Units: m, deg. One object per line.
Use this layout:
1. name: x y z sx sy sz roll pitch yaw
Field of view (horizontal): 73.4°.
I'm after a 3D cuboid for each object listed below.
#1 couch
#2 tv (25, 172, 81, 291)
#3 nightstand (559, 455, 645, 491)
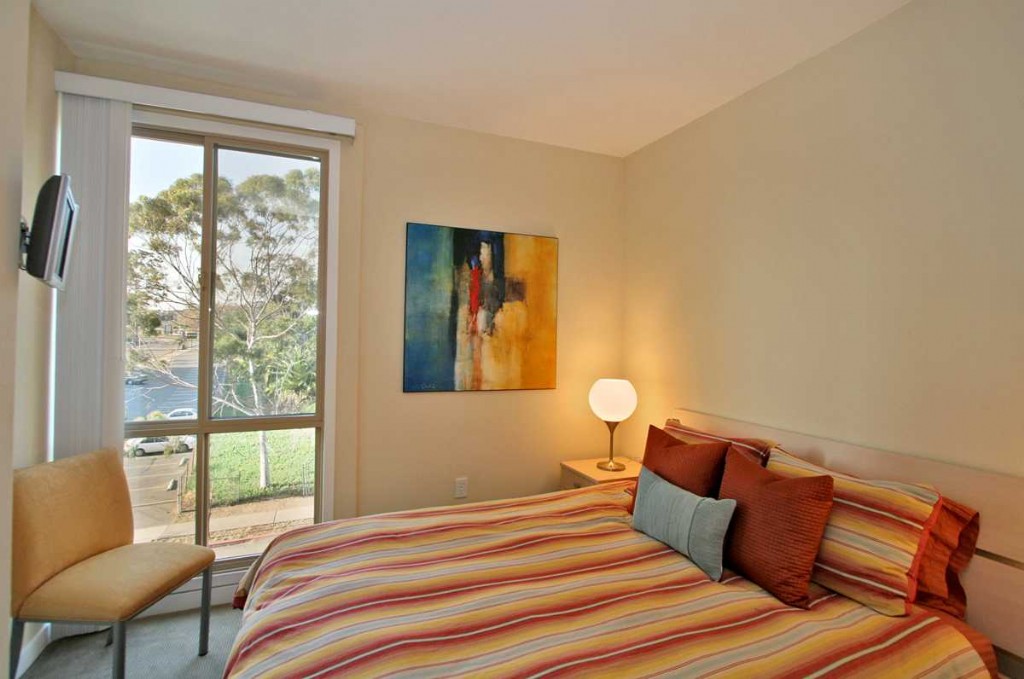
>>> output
1. couch: -2.188 1.128 4.282 1.035 1.781 1.099 0 -2 12
2. tv: -2.384 -0.564 3.529 0.187 0.575 0.362 0 1 -12
3. nightstand: 0.632 0.937 4.815 0.319 0.302 0.310 2 -4 -16
